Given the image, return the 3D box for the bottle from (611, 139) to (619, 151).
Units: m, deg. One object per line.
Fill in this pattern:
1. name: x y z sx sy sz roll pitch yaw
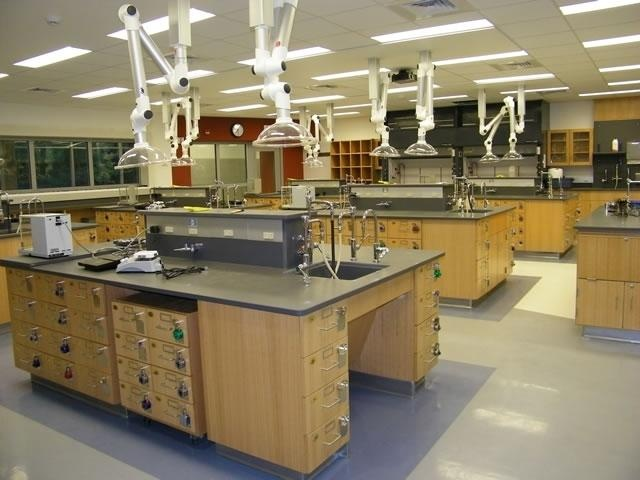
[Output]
1. bottle: 6.667 -2.144 10.989 0.159 0.305 0.219 4 13 26

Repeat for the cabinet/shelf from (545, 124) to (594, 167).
1. cabinet/shelf: 5.871 -2.205 11.408 1.059 0.871 0.342 1 2 26

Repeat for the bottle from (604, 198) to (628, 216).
1. bottle: 3.989 -0.441 6.544 0.267 0.130 0.374 1 4 28
